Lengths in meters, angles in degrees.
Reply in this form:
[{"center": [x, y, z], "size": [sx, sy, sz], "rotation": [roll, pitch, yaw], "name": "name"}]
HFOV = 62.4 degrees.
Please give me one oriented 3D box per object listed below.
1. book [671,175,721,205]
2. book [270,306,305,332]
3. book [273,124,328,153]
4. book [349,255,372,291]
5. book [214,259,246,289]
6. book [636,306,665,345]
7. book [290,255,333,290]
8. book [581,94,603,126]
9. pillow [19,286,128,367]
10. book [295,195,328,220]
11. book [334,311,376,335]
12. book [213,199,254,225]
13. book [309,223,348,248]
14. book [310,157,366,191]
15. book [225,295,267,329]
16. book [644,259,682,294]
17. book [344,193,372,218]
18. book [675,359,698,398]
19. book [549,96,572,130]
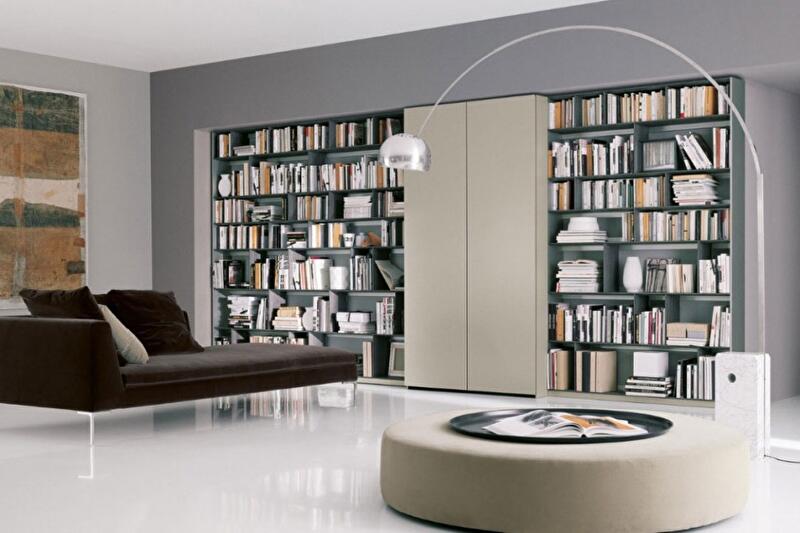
[{"center": [2.723, -0.674, 6.104], "size": [0.322, 0.156, 0.344], "rotation": [1, 2, 22], "name": "book"}, {"center": [-1.356, 0.640, 7.973], "size": [0.403, 0.256, 0.292], "rotation": [-1, -2, 34], "name": "book"}, {"center": [-1.171, -1.527, 7.921], "size": [0.423, 0.194, 0.173], "rotation": [1, -1, 30], "name": "book"}, {"center": [-0.448, 0.090, 7.574], "size": [0.331, 0.400, 0.130], "rotation": [6, 12, 30], "name": "book"}, {"center": [-2.205, 0.105, 8.633], "size": [0.485, 0.432, 0.341], "rotation": [0, -1, 18], "name": "book"}, {"center": [2.401, 0.547, 6.359], "size": [0.314, 0.394, 0.416], "rotation": [-1, -3, 28], "name": "book"}, {"center": [-1.044, 0.104, 7.935], "size": [0.578, 0.407, 0.240], "rotation": [4, 11, 25], "name": "book"}, {"center": [1.937, -1.514, 6.702], "size": [0.274, 0.331, 0.358], "rotation": [0, -2, 22], "name": "book"}, {"center": [-2.551, 0.479, 5.286], "size": [0.716, 0.226, 0.709], "rotation": [9, -3, 29], "name": "pillow"}, {"center": [-1.040, -0.677, 7.945], "size": [0.304, 0.373, 0.403], "rotation": [0, -2, 14], "name": "book"}, {"center": [-0.517, 0.614, 7.628], "size": [0.369, 0.185, 0.277], "rotation": [0, 0, 43], "name": "book"}, {"center": [-2.148, -0.698, 8.434], "size": [0.592, 0.290, 0.557], "rotation": [1, 3, 10], "name": "book"}, {"center": [-0.863, -0.370, 7.837], "size": [0.510, 0.348, 0.290], "rotation": [1, 1, 30], "name": "book"}, {"center": [-0.701, -1.042, 7.714], "size": [0.713, 0.329, 0.151], "rotation": [6, 12, 32], "name": "book"}, {"center": [-1.921, 0.553, 8.316], "size": [0.534, 0.480, 0.394], "rotation": [-1, -2, 32], "name": "book"}, {"center": [2.513, 0.105, 6.280], "size": [0.346, 0.311, 0.113], "rotation": [-2, -4, 44], "name": "book"}, {"center": [-0.501, -0.670, 7.616], "size": [0.405, 0.268, 0.257], "rotation": [1, 1, 32], "name": "book"}, {"center": [2.617, 1.037, 6.194], "size": [0.303, 0.372, 0.402], "rotation": [0, -1, 20], "name": "book"}, {"center": [1.643, -1.499, 6.728], "size": [0.269, 0.336, 0.373], "rotation": [1, -1, 22], "name": "book"}]
